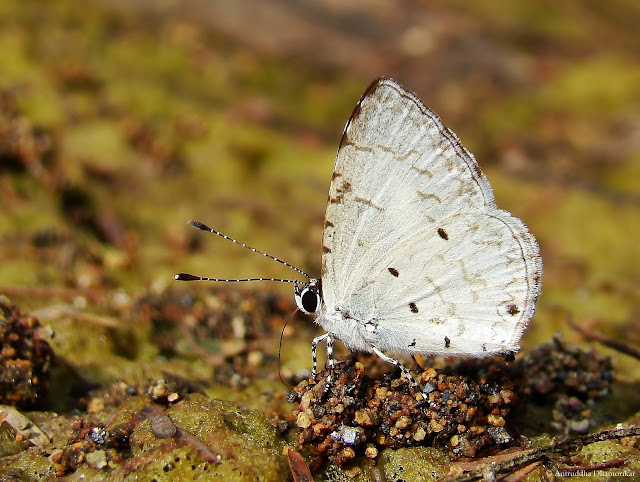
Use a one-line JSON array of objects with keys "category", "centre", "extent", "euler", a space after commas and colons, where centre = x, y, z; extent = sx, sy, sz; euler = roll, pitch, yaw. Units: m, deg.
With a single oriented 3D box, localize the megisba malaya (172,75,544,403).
[{"category": "megisba malaya", "centre": [0.807, -0.133, 6.149], "extent": [1.838, 2.365, 0.385], "euler": [-3, 13, 4]}]
